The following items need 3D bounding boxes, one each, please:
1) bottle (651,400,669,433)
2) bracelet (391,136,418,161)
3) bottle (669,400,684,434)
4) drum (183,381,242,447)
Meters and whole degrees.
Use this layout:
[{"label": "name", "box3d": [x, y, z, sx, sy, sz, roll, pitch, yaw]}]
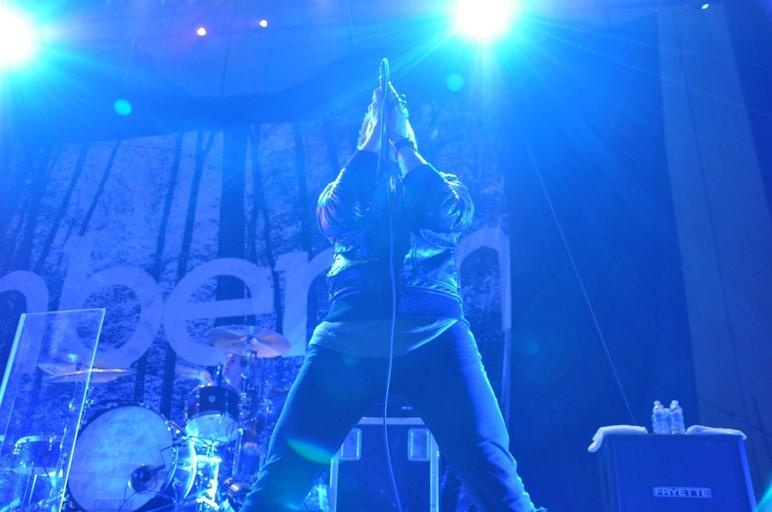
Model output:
[{"label": "bottle", "box3d": [2.188, 1.303, 5.315, 0.134, 0.280, 0.222, -9, -27, 20]}, {"label": "bracelet", "box3d": [0.122, -0.736, 4.503, 0.138, 0.145, 0.130, -5, -8, 45]}, {"label": "bottle", "box3d": [2.357, 1.313, 5.407, 0.087, 0.266, 0.222, -15, -30, 30]}, {"label": "drum", "box3d": [-1.660, 1.523, 6.367, 0.517, 0.393, 0.548, -7, -52, -9]}]
